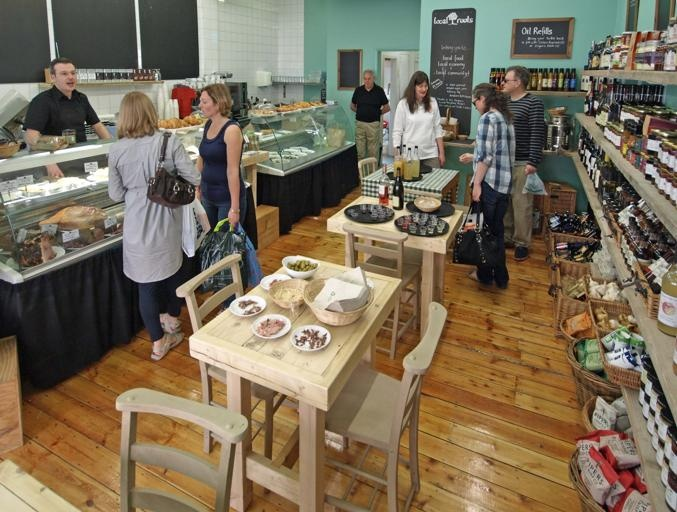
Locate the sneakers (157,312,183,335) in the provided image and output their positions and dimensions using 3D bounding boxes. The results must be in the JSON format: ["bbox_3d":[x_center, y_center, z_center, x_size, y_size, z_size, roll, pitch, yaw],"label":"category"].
[{"bbox_3d":[-1.385,0.567,3.852,0.113,0.207,0.076,-8,-22,-39],"label":"sneakers"}]

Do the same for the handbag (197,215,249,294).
[{"bbox_3d":[-0.955,-0.024,3.775,0.350,0.567,0.255,4,5,3],"label":"handbag"}]

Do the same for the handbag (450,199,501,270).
[{"bbox_3d":[1.178,-0.212,4.020,0.386,0.656,0.185,-3,-14,26],"label":"handbag"}]

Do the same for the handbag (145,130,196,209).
[{"bbox_3d":[-1.142,-0.612,3.261,0.204,0.499,0.417,14,6,15],"label":"handbag"}]

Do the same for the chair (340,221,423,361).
[{"bbox_3d":[0.387,0.176,3.836,0.593,1.149,0.621,3,33,10],"label":"chair"}]

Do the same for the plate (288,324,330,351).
[{"bbox_3d":[-0.137,0.413,2.339,0.197,0.042,0.185,-3,24,-4],"label":"plate"}]

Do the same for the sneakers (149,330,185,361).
[{"bbox_3d":[-1.361,0.685,3.719,0.114,0.124,0.300,9,29,17],"label":"sneakers"}]

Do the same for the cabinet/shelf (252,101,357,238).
[{"bbox_3d":[-0.490,-1.467,6.712,0.897,1.436,2.526,15,27,21],"label":"cabinet/shelf"}]

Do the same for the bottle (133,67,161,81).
[{"bbox_3d":[-2.794,-2.642,6.700,0.490,0.177,0.398,-22,31,-38],"label":"bottle"}]

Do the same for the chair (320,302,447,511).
[{"bbox_3d":[0.247,0.893,2.592,0.501,1.142,0.548,20,39,19],"label":"chair"}]

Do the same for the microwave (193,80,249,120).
[{"bbox_3d":[-1.835,-2.628,7.722,0.376,0.553,0.574,13,22,36],"label":"microwave"}]

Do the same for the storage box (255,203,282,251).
[{"bbox_3d":[-0.808,-0.281,5.619,0.469,0.431,0.190,-22,-27,38],"label":"storage box"}]

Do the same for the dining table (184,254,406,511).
[{"bbox_3d":[-0.094,0.909,3.011,0.973,1.437,1.470,12,29,20],"label":"dining table"}]

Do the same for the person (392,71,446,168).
[{"bbox_3d":[0.927,-1.532,5.280,0.647,1.087,0.345,-4,22,-6],"label":"person"}]
